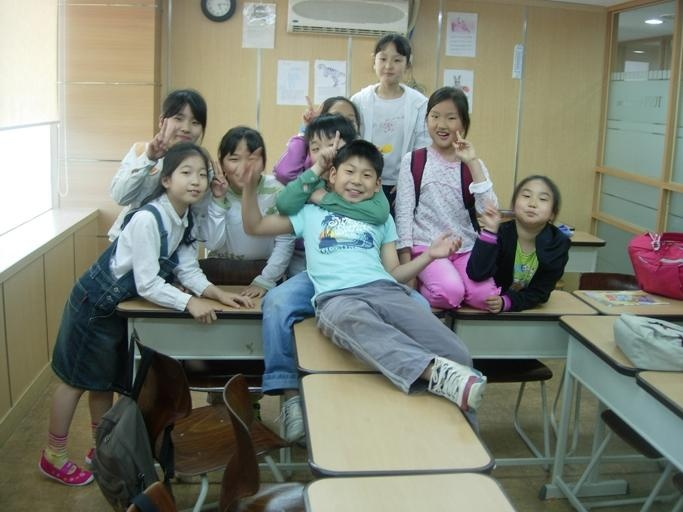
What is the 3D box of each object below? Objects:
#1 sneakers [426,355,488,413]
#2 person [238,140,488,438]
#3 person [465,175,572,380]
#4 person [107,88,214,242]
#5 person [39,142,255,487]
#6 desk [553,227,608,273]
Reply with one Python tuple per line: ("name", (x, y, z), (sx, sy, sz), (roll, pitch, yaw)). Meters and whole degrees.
("sneakers", (0.395, 0.447, 1.934), (0.107, 0.114, 0.253), (4, 7, -29))
("person", (0.129, 0.063, 2.279), (0.918, 0.858, 1.390), (-2, 23, -24))
("person", (0.923, -0.041, 2.750), (0.523, 0.760, 0.440), (-2, 14, -16))
("person", (-0.891, -0.444, 2.824), (0.466, 0.840, 0.413), (8, -2, 6))
("person", (-1.011, 0.311, 2.604), (0.991, 1.657, 0.474), (-3, 15, -14))
("desk", (2.068, -0.049, 4.734), (0.483, 0.316, 0.507), (0, 19, 0))
